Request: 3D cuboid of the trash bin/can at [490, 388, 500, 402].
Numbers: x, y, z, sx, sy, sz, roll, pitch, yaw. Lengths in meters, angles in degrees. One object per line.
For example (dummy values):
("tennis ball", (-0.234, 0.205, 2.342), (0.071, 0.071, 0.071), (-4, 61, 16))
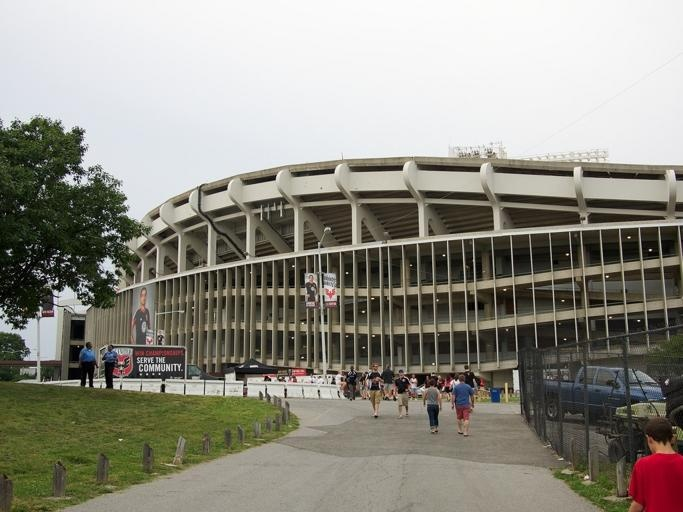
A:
("trash bin/can", (8.695, 7.835, 40.352), (0.448, 0.779, 0.501), (-4, -15, 5))
